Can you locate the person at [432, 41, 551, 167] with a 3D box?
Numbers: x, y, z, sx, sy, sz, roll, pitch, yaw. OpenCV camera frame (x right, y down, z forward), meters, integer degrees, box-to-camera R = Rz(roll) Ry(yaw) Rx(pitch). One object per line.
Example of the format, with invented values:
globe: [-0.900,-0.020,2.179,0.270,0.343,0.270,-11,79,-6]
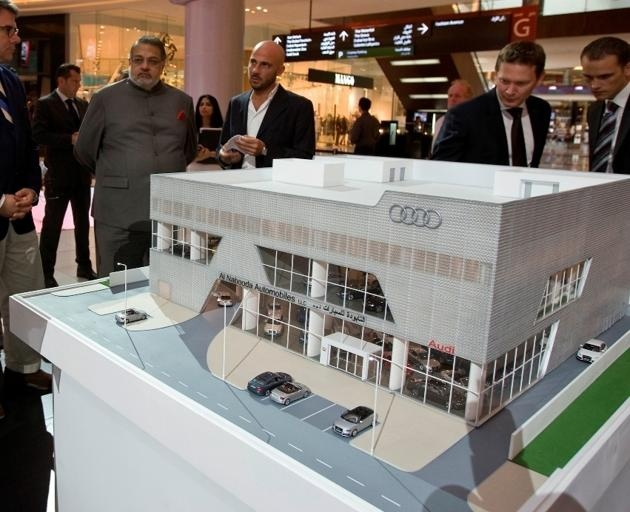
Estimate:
person: [1.209,-0.983,2.984,0.769,0.756,0.543,5,14,9]

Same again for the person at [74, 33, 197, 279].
person: [-1.392,-0.739,3.592,0.893,1.846,0.463,-5,16,-29]

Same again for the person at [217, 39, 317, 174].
person: [-0.362,-1.086,3.328,0.729,0.934,0.815,3,14,-1]

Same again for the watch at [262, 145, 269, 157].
watch: [-0.365,-0.768,3.322,0.022,0.067,0.046,-2,5,-32]

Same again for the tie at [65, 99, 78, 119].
tie: [-3.279,-1.978,6.116,0.054,0.238,0.142,-11,0,42]

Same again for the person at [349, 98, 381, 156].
person: [1.167,-3.000,10.513,0.642,1.238,0.847,5,14,9]
